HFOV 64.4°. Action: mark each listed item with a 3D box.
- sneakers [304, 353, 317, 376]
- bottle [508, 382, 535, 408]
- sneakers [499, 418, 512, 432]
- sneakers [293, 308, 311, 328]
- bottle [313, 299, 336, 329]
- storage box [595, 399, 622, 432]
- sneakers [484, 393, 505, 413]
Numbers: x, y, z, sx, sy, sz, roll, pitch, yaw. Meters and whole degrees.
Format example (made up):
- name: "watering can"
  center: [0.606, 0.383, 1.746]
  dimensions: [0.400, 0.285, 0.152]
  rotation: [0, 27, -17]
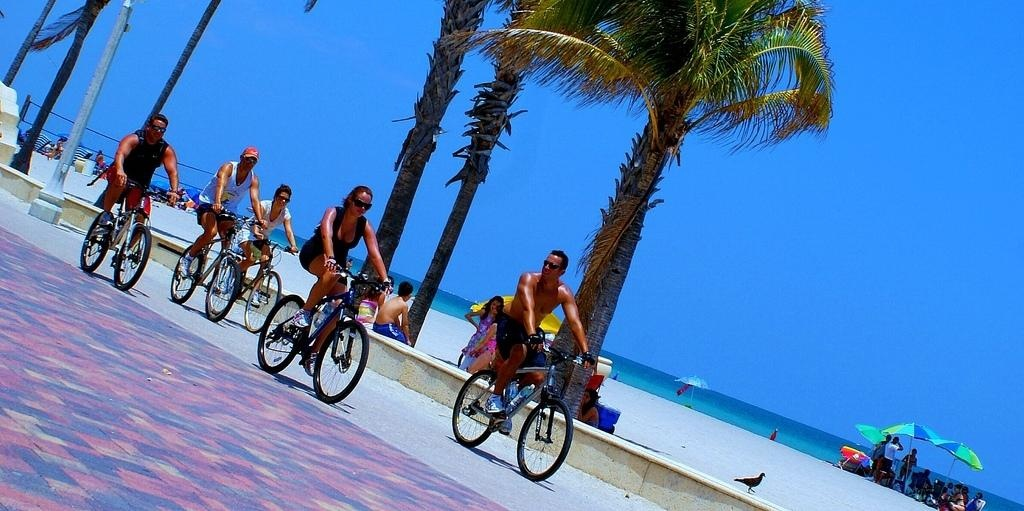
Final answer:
- name: "sneakers"
  center: [-3.410, 1.857, 13.819]
  dimensions: [0.183, 0.480, 0.196]
  rotation: [0, 10, 14]
- name: "bottle"
  center: [0.181, 2.355, 13.966]
  dimensions: [0.271, 0.451, 0.107]
  rotation: [45, -2, 13]
- name: "sneakers"
  center: [-0.083, 2.902, 13.966]
  dimensions: [0.145, 0.252, 0.272]
  rotation: [22, -3, 22]
- name: "sneakers"
  center: [-3.501, 1.038, 13.618]
  dimensions: [0.214, 0.357, 0.158]
  rotation: [23, -18, -8]
- name: "bottle"
  center: [-3.173, 0.955, 13.651]
  dimensions: [0.128, 0.502, 0.382]
  rotation: [30, 0, 34]
- name: "storage box"
  center: [2.448, 4.071, 20.654]
  dimensions: [0.788, 0.483, 1.219]
  rotation: [0, -2, 1]
- name: "sneakers"
  center: [-0.289, 2.536, 13.973]
  dimensions: [0.262, 0.327, 0.127]
  rotation: [3, 6, 6]
